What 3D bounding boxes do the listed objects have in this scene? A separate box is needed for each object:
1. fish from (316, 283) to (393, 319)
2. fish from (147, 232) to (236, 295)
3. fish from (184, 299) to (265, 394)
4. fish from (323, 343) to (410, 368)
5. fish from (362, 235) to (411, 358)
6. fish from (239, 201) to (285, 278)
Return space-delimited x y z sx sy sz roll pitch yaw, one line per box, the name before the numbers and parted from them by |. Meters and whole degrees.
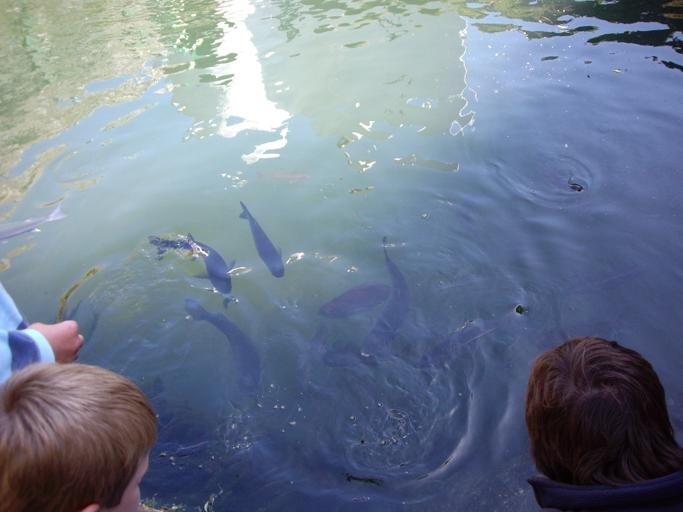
fish | 0.172 0.416 6.501 0.621 0.060 0.299 -19 57 -7
fish | -1.505 0.053 6.929 0.466 0.292 0.959 -30 58 -36
fish | -1.056 0.706 6.189 0.365 0.156 1.093 -39 55 -5
fish | 0.125 0.914 6.094 0.499 0.059 0.192 4 65 13
fish | 0.476 0.385 6.341 0.250 0.195 1.163 7 49 10
fish | -0.769 -0.167 7.055 0.322 0.238 0.958 -36 59 13
